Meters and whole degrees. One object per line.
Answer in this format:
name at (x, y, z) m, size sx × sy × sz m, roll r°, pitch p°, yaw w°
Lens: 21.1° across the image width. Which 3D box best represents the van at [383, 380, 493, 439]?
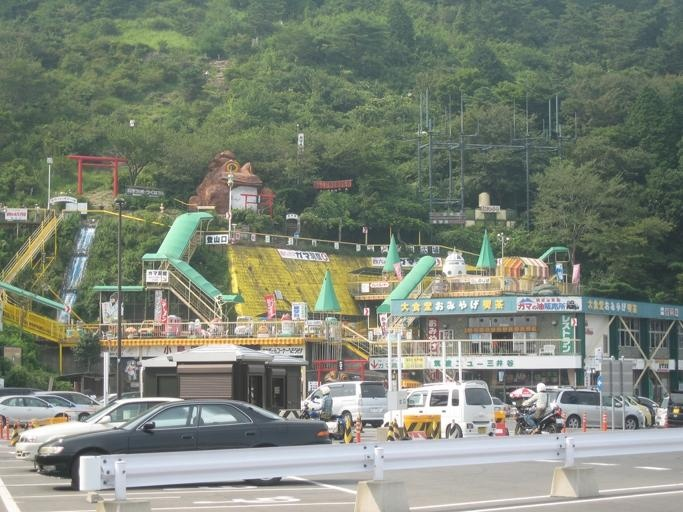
van at (8.874, 12.990, 156.612) m, size 7.548 × 4.331 × 4.562 m, roll -1°, pitch -6°, yaw 25°
